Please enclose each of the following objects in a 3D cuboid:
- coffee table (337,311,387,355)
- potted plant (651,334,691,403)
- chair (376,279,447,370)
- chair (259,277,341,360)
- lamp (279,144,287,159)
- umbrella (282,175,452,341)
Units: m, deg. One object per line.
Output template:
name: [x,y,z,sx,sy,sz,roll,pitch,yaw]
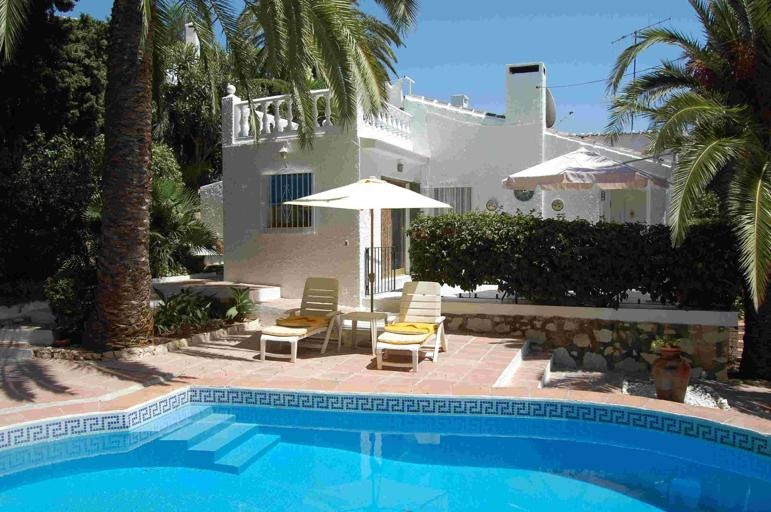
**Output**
coffee table: [-0.584,1.812,14.584,0.916,0.853,0.952,1,-2,9]
potted plant: [5.813,2.319,12.735,0.643,1.212,0.686,-10,11,-7]
chair: [0.593,1.478,13.756,1.241,1.712,2.126,0,0,17]
chair: [-1.864,1.337,14.116,1.208,1.625,2.043,2,4,23]
lamp: [-3.086,-3.077,19.000,0.308,0.414,0.317,0,0,4]
umbrella: [-0.401,0.038,15.311,3.458,3.392,3.756,4,6,19]
